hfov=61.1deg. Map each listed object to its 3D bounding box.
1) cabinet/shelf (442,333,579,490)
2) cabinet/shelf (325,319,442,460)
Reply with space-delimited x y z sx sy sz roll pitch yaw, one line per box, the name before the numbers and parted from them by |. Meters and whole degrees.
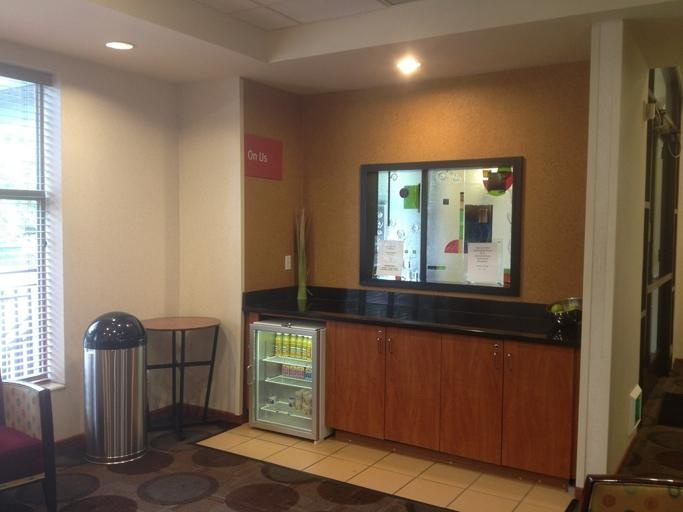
cabinet/shelf | 1.426 1.118 4.583 0.850 1.592 0.826 -1 -3 36
cabinet/shelf | 0.374 1.068 4.702 1.097 0.957 0.423 1 -1 26
